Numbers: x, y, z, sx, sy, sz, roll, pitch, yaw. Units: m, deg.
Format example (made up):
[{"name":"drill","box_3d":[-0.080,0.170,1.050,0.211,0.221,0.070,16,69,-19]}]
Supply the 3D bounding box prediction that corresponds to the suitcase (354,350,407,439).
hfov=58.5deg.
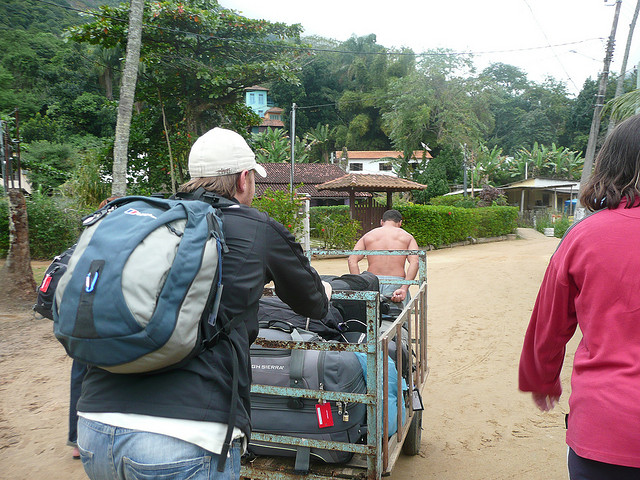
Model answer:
[{"name":"suitcase","box_3d":[0.359,1.114,4.045,0.447,0.670,0.345,-9,-11,25]}]

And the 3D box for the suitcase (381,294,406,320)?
[{"name":"suitcase","box_3d":[0.670,0.575,5.236,0.191,0.212,1.035,2,6,9]}]

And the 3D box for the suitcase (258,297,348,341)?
[{"name":"suitcase","box_3d":[-0.150,0.614,4.391,0.677,0.305,0.868,2,-22,2]}]

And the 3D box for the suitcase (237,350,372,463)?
[{"name":"suitcase","box_3d":[-0.058,1.005,3.708,0.758,0.725,0.682,-2,-10,15]}]

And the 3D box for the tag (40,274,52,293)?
[{"name":"tag","box_3d":[-1.987,0.314,4.133,0.094,0.128,0.047,6,10,41]}]

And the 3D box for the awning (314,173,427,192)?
[{"name":"awning","box_3d":[1.607,-1.883,18.969,3.276,0.641,1.650,-5,8,-41]}]

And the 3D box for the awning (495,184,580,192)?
[{"name":"awning","box_3d":[13.957,-3.381,37.264,3.272,0.520,7.737,1,6,5]}]

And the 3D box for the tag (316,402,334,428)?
[{"name":"tag","box_3d":[0.030,1.080,3.540,0.126,0.179,0.021,-10,-5,9]}]

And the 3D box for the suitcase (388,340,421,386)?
[{"name":"suitcase","box_3d":[0.642,0.944,4.283,0.195,0.208,0.154,-13,-36,-3]}]

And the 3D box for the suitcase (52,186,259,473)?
[{"name":"suitcase","box_3d":[-0.774,0.421,2.604,0.819,1.216,0.458,2,7,10]}]
